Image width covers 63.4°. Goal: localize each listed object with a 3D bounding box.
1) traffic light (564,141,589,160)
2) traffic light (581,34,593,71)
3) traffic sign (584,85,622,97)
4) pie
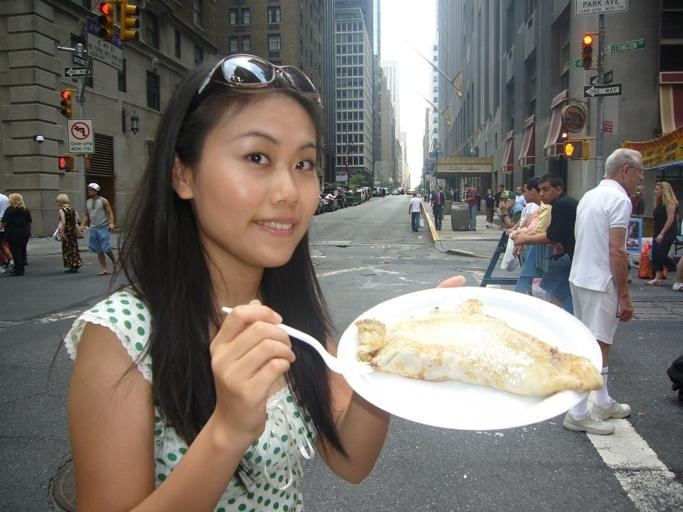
[{"bbox_3d":[6.332,-2.873,14.891,0.519,0.492,0.262,-4,6,-5],"label":"traffic light"},{"bbox_3d":[5.867,-4.949,13.188,0.240,0.859,0.645,3,7,22],"label":"traffic light"},{"bbox_3d":[6.256,-4.012,13.284,0.774,0.317,0.540,4,8,26],"label":"traffic sign"},{"bbox_3d":[0.476,0.338,1.944,0.524,0.085,0.362,7,18,34],"label":"pie"}]
